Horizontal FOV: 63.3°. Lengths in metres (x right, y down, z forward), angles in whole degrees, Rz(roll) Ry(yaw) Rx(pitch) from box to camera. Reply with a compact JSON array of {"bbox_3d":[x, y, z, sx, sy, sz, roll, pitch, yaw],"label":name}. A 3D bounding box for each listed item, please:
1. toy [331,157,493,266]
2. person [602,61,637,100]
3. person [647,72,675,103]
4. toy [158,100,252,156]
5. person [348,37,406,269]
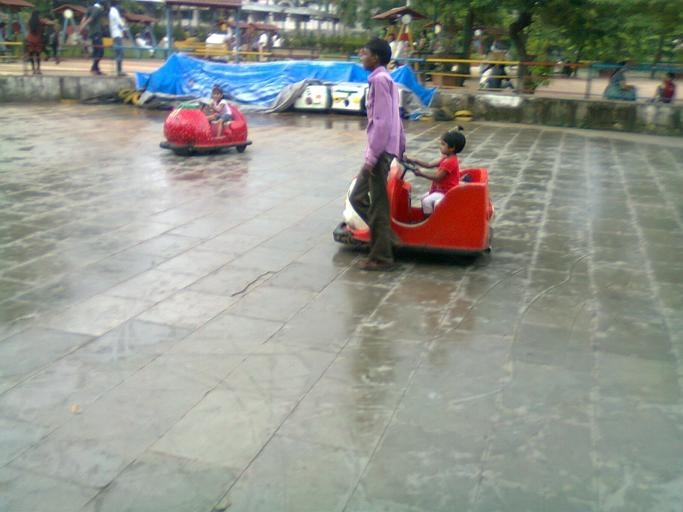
[{"bbox_3d":[0.765,-0.429,5.444,1.733,0.767,0.802,4,21,9],"label":"toy"},{"bbox_3d":[7.150,-4.449,14.094,0.769,0.916,1.358,9,20,23],"label":"person"},{"bbox_3d":[8.096,-4.233,13.828,0.486,0.767,1.563,11,21,27],"label":"person"},{"bbox_3d":[-2.401,-2.233,9.811,1.442,0.615,0.948,-9,21,-35],"label":"toy"},{"bbox_3d":[0.304,-0.884,4.922,0.481,2.020,0.560,2,22,5],"label":"person"}]
